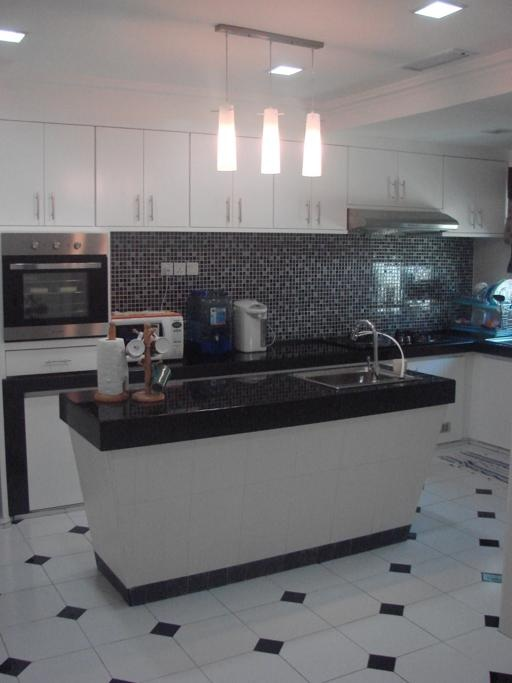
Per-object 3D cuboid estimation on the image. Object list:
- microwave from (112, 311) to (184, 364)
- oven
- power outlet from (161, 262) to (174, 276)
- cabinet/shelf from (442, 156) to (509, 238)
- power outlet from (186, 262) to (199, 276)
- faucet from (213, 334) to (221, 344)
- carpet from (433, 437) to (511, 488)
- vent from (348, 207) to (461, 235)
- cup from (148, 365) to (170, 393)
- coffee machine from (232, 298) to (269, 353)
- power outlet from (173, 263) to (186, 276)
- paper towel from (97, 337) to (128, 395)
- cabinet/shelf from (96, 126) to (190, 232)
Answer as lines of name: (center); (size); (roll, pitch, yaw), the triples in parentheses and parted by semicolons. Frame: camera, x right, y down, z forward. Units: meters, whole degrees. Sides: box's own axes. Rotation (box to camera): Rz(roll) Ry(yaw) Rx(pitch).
microwave: (-0.616, -0.080, 3.550); (0.559, 0.348, 0.332); (-4, 8, -26)
oven: (-1.238, -0.325, 3.745); (0.887, 0.831, 0.574); (-3, 5, -30)
power outlet: (-0.642, -0.533, 4.202); (0.100, 0.090, 0.023); (2, 1, -35)
cabinet/shelf: (1.939, -1.322, 5.118); (0.740, 0.659, 0.346); (-3, 5, -22)
power outlet: (-0.479, -0.549, 4.295); (0.096, 0.090, 0.049); (-3, 6, -36)
faucet: (-0.273, -0.023, 4.041); (0.048, 0.086, 0.048); (-5, 9, -35)
carpet: (1.752, 0.942, 4.611); (0.547, 0.122, 0.878); (1, 3, 17)
vent: (1.213, -1.010, 4.699); (0.980, 0.248, 0.265); (-2, 4, -28)
cup: (-0.410, 0.152, 2.458); (0.072, 0.116, 0.095); (-1, 3, -10)
coffee machine: (-0.044, -0.111, 4.229); (0.239, 0.385, 0.219); (0, 3, -2)
power outlet: (-0.567, -0.541, 4.242); (0.089, 0.086, 0.044); (-4, 11, -29)
paper towel: (-0.606, 0.110, 2.424); (0.120, 0.245, 0.166); (-1, 4, -14)
cabinet/shelf: (-0.761, -1.085, 3.744); (0.721, 0.700, 0.359); (-4, 8, -28)
